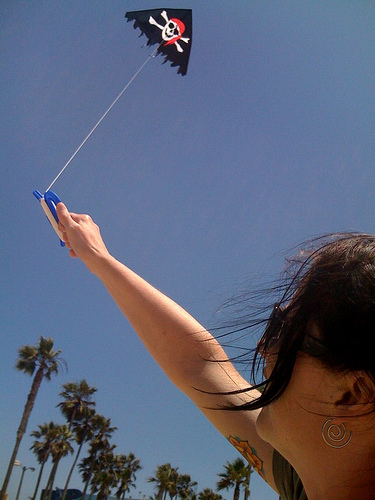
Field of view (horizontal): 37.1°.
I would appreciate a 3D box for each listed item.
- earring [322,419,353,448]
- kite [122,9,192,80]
[{"bbox_3d":[0.310,0.382,1.168,0.061,0.049,0.038,4,-37,12],"label":"earring"},{"bbox_3d":[-0.253,-1.982,5.329,0.555,0.663,0.463,4,-37,14],"label":"kite"}]
